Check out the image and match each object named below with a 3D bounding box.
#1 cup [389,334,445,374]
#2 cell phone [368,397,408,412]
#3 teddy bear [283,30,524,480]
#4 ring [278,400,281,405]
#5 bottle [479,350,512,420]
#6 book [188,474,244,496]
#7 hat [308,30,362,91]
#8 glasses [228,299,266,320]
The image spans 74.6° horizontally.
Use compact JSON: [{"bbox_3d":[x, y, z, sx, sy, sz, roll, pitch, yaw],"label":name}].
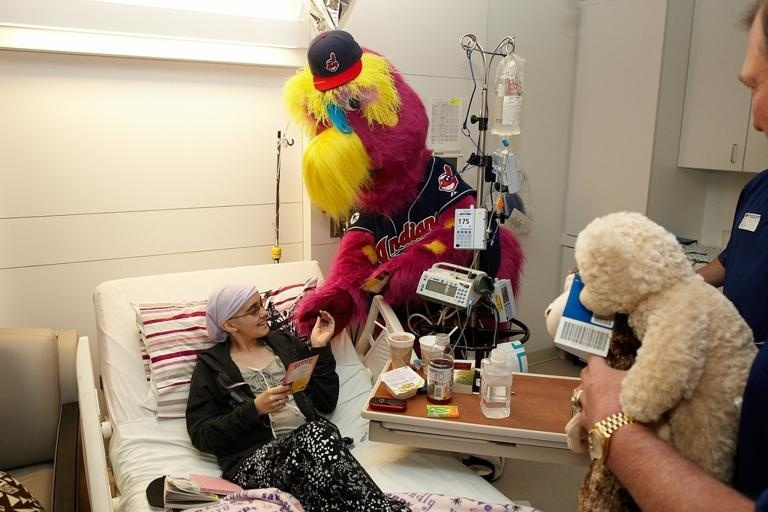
[{"bbox_3d":[0.158,0.451,2.392,0.292,0.181,0.141,4,8,26],"label":"cup"},{"bbox_3d":[0.014,0.638,2.156,0.127,0.025,0.065,3,7,5],"label":"cell phone"},{"bbox_3d":[0.152,-0.262,2.879,1.352,1.764,0.884,-5,1,-30],"label":"teddy bear"},{"bbox_3d":[-0.482,0.688,2.334,0.017,0.016,0.004,1,-11,-33],"label":"ring"},{"bbox_3d":[0.472,0.525,2.130,0.136,0.298,0.160,-2,10,11],"label":"bottle"},{"bbox_3d":[-0.708,0.966,2.101,0.121,0.025,0.123,13,-4,-17],"label":"book"},{"bbox_3d":[-0.235,-0.939,2.405,0.223,0.310,0.122,-13,-27,21],"label":"hat"},{"bbox_3d":[-0.662,0.277,2.523,0.107,0.032,0.086,-13,15,25],"label":"glasses"}]
